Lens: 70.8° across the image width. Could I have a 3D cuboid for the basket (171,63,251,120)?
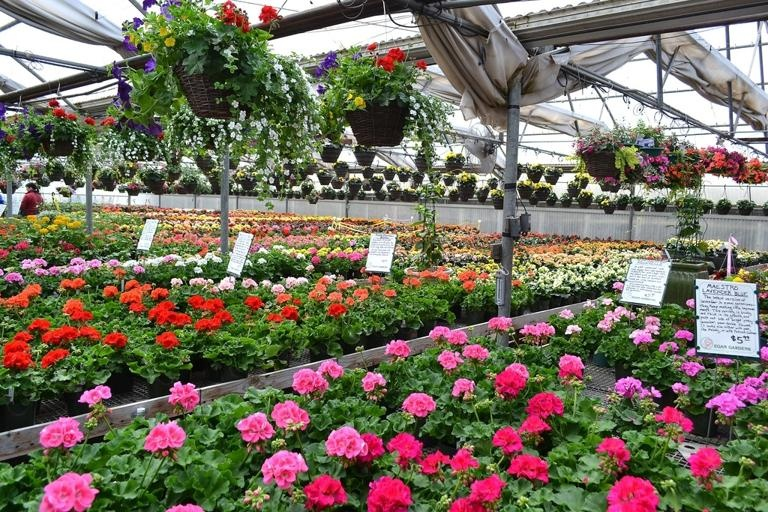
[{"bbox_3d":[-1.182,-1.049,3.498,0.343,0.227,0.339,2,3,-3],"label":"basket"}]
